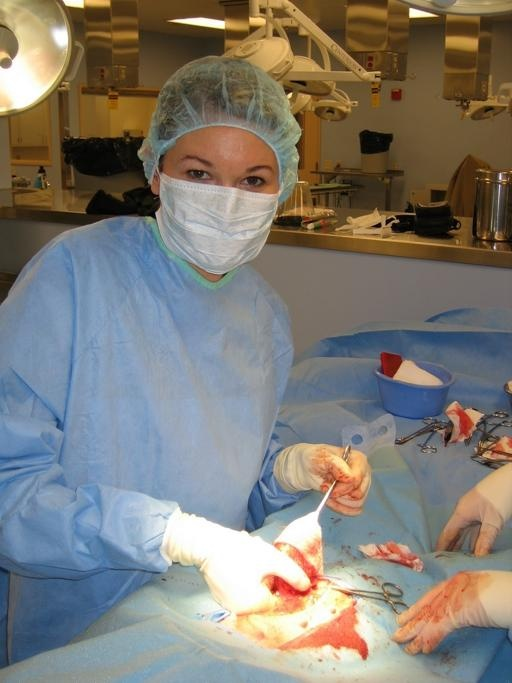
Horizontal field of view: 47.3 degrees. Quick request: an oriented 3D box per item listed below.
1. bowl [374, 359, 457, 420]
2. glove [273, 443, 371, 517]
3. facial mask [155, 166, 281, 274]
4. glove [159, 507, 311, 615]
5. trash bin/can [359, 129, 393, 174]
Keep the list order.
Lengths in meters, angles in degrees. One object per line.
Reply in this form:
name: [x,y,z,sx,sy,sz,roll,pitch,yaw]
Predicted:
bowl: [0.446,0.120,1.775,0.233,0.142,0.276,-3,13,-21]
glove: [0.139,0.256,1.264,0.176,0.131,0.201,8,15,26]
facial mask: [-0.073,-0.235,1.175,0.223,0.210,0.215,-5,16,-22]
glove: [-0.047,0.358,0.918,0.222,0.066,0.126,29,40,-9]
trash bin/can: [1.447,-2.326,7.112,0.419,0.465,0.452,19,36,41]
